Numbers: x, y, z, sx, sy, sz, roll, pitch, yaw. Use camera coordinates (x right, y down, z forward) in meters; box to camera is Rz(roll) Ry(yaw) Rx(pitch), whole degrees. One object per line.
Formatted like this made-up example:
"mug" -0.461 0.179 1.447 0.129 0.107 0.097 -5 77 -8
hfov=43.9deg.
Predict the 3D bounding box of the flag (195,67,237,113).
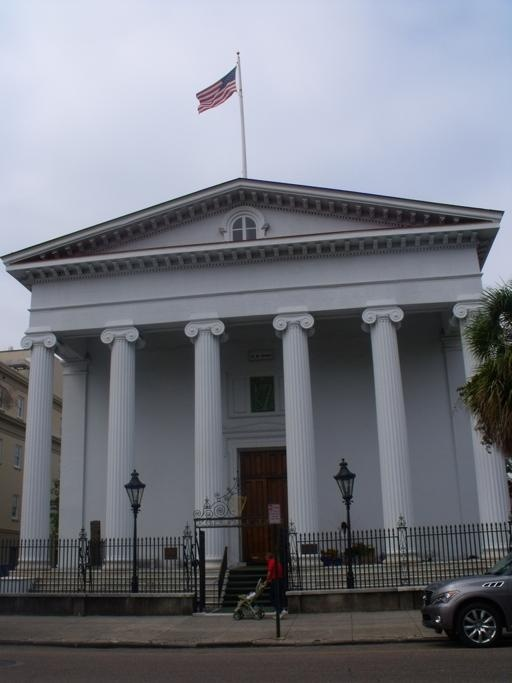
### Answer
"flag" -1.613 -10.049 25.444 1.667 0.235 1.909 -15 -25 -9
